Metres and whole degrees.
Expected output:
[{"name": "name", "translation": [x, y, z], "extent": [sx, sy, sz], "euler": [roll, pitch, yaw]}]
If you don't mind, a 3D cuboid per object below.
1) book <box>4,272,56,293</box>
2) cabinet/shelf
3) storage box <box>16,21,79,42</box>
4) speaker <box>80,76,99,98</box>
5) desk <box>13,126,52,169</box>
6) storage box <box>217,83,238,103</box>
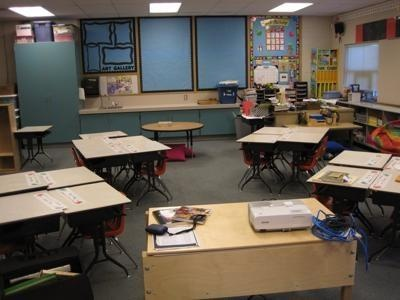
[{"name": "book", "translation": [-1.119, 0.878, 2.079], "extent": [0.173, 0.041, 0.175], "euler": [-9, -2, 2]}, {"name": "cabinet/shelf", "translation": [1.167, -1.073, 8.281], "extent": [6.324, 2.637, 3.380], "euler": [-2, 10, -6]}, {"name": "storage box", "translation": [-4.126, -3.141, 8.550], "extent": [0.902, 0.293, 0.838], "euler": [1, 13, 4]}, {"name": "speaker", "translation": [-3.049, -1.788, 8.814], "extent": [0.488, 0.502, 0.690], "euler": [-2, 9, -10]}, {"name": "desk", "translation": [-3.929, -0.045, 7.351], "extent": [0.488, 0.624, 0.935], "euler": [-1, 15, -6]}, {"name": "storage box", "translation": [0.790, -1.632, 9.038], "extent": [0.560, 0.407, 0.557], "euler": [0, 10, 0]}]
